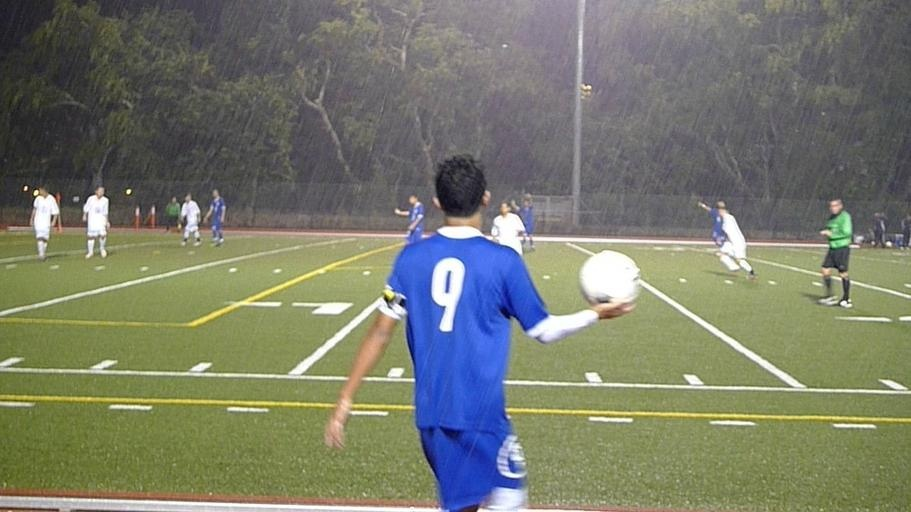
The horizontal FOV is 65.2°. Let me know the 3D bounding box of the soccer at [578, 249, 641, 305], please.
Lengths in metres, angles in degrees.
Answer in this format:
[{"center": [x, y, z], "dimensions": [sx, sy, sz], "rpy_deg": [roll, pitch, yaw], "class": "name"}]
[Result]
[{"center": [2.166, 0.261, 10.119], "dimensions": [0.767, 0.650, 0.696], "rpy_deg": [-5, 10, 1], "class": "soccer"}]
